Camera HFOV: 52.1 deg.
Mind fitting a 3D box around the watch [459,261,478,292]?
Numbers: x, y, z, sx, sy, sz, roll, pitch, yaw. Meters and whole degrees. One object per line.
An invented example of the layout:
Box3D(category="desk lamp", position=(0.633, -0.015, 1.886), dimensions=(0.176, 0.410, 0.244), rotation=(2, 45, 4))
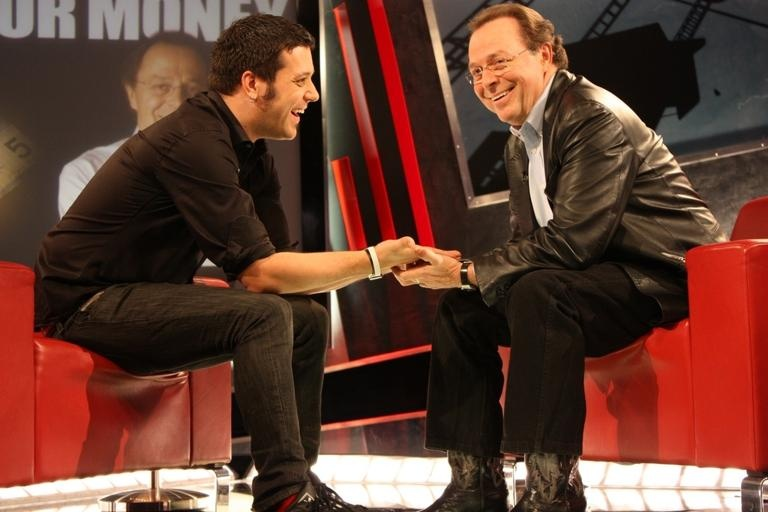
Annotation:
Box3D(category="watch", position=(0.297, 0.074, 2.864), dimensions=(0.067, 0.098, 0.105), rotation=(0, -9, 13))

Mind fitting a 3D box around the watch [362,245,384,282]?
Box3D(category="watch", position=(-0.019, 0.033, 2.984), dimensions=(0.073, 0.120, 0.112), rotation=(-2, -32, -26))
